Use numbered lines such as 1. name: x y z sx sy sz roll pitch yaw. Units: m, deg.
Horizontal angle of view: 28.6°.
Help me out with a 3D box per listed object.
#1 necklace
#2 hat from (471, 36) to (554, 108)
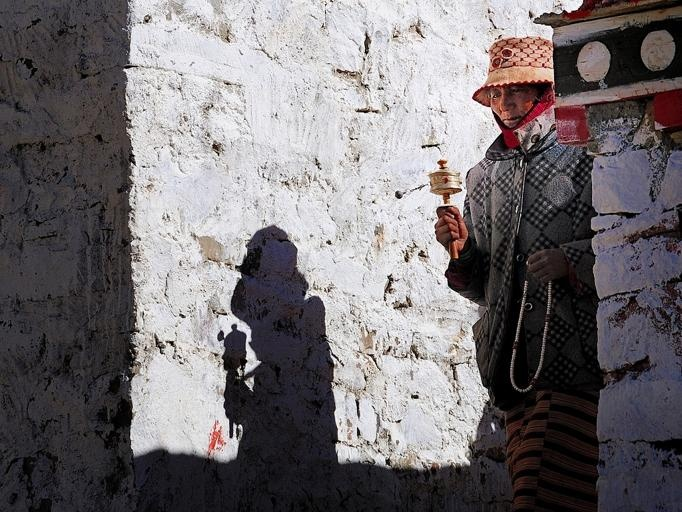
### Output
1. necklace: 0.796 0.326 5.592 0.178 0.471 0.092 0 -9 13
2. hat: 0.771 -0.833 5.830 0.233 0.166 0.244 -15 -24 41
